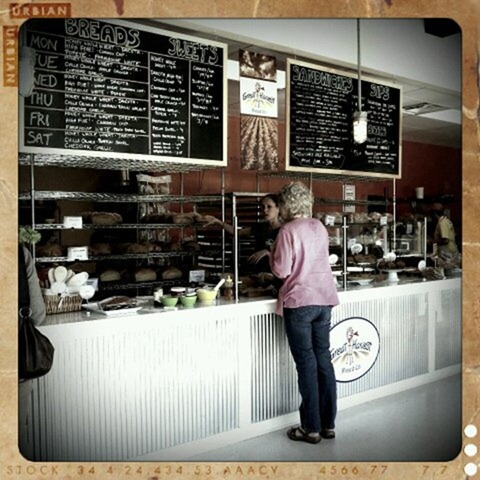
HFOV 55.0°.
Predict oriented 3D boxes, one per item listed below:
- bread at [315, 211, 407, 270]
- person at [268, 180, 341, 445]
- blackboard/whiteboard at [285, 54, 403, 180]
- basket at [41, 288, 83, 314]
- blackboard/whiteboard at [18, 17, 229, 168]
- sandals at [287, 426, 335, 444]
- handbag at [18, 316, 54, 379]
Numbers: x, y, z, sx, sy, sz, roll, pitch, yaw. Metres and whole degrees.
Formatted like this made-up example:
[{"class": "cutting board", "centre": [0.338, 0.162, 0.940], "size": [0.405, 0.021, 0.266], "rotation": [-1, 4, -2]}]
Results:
[{"class": "bread", "centre": [1.200, 0.005, 4.472], "size": [0.614, 0.571, 0.323], "rotation": [1, -4, -40]}, {"class": "person", "centre": [0.436, 0.485, 3.023], "size": [0.548, 1.697, 0.333], "rotation": [7, 8, 14]}, {"class": "blackboard/whiteboard", "centre": [1.017, -1.104, 4.379], "size": [1.548, 0.968, 0.222], "rotation": [-1, 9, -39]}, {"class": "basket", "centre": [-1.023, 0.337, 2.662], "size": [0.145, 0.092, 0.148], "rotation": [0, 0, 39]}, {"class": "blackboard/whiteboard", "centre": [-0.816, -0.998, 3.114], "size": [1.341, 0.786, 0.027], "rotation": [0, -2, -42]}, {"class": "sandals", "centre": [0.465, 1.228, 3.002], "size": [0.220, 0.071, 0.124], "rotation": [1, -6, 27]}, {"class": "handbag", "centre": [-0.951, 0.500, 2.146], "size": [0.152, 0.287, 0.125], "rotation": [1, 8, -26]}]
